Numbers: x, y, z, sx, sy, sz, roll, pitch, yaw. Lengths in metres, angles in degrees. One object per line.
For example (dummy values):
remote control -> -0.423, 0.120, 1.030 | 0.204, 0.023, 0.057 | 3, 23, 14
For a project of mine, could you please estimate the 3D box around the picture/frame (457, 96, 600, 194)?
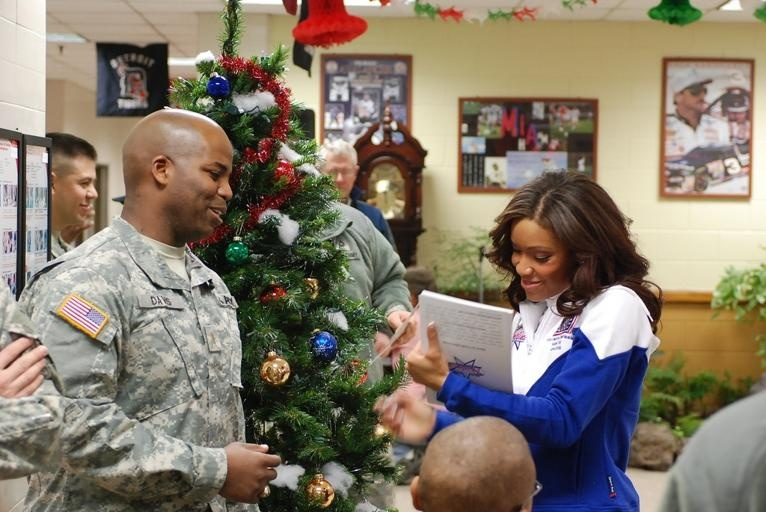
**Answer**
picture/frame -> 1.281, -1.059, 7.285 | 1.309, 0.954, 0.051 | 1, 0, -3

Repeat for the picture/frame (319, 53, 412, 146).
picture/frame -> -0.158, -1.530, 7.767 | 0.869, 1.006, 0.031 | 1, -22, -1
